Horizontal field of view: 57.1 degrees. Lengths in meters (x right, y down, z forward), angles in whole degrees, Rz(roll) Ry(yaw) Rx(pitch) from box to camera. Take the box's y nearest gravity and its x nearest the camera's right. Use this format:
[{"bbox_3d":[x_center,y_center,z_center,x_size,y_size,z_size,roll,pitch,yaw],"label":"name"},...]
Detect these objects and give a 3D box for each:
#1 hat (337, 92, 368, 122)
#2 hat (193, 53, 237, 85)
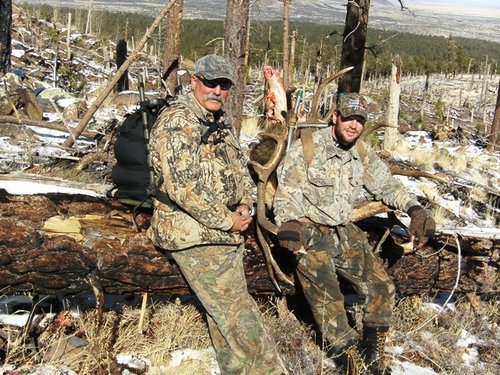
[{"bbox_3d":[1.141,-0.915,5.164,0.246,0.218,0.346,11,17,-7],"label":"hat"},{"bbox_3d":[-0.387,-1.190,4.639,0.244,0.204,0.333,3,13,-36],"label":"hat"}]
